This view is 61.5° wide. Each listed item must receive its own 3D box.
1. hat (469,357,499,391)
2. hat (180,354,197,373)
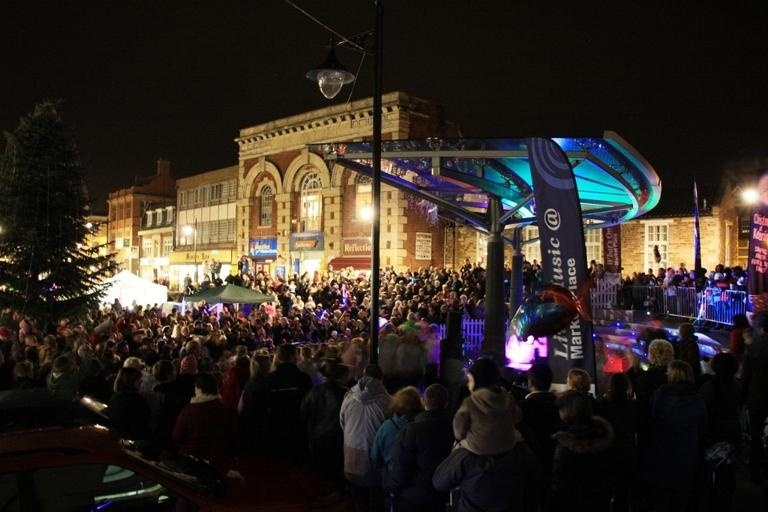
[{"bbox_3d":[1.429,1.677,9.451,0.392,0.482,0.471,3,10,-21],"label":"hat"},{"bbox_3d":[-3.453,1.871,11.407,0.248,0.312,0.341,1,2,9],"label":"hat"}]
